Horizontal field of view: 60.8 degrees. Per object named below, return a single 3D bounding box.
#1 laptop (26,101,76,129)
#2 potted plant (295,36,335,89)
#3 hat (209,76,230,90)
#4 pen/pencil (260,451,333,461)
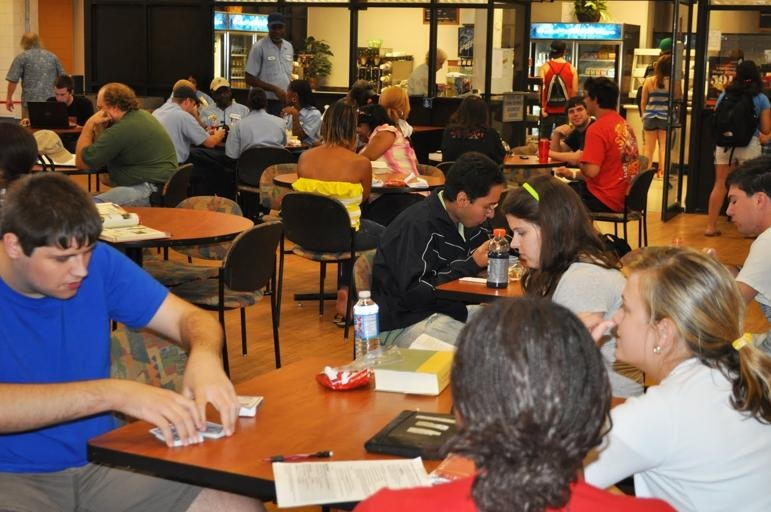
[{"bbox_3d":[-4.136,-1.686,8.113,0.482,0.306,0.328,2,20,1],"label":"laptop"},{"bbox_3d":[-1.178,-3.093,11.003,0.530,0.644,0.497,5,1,18],"label":"potted plant"},{"bbox_3d":[-2.374,-2.408,9.270,0.318,0.177,0.486,-7,10,-12],"label":"hat"},{"bbox_3d":[-0.242,0.532,1.745,0.154,0.018,0.017,-1,0,-14],"label":"pen/pencil"}]
